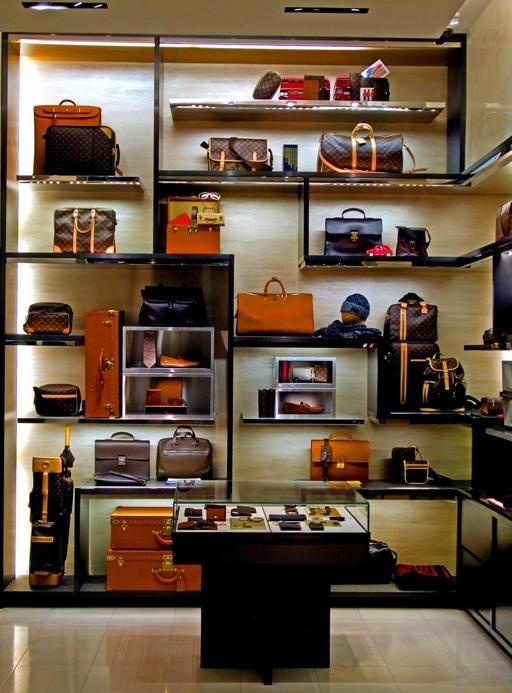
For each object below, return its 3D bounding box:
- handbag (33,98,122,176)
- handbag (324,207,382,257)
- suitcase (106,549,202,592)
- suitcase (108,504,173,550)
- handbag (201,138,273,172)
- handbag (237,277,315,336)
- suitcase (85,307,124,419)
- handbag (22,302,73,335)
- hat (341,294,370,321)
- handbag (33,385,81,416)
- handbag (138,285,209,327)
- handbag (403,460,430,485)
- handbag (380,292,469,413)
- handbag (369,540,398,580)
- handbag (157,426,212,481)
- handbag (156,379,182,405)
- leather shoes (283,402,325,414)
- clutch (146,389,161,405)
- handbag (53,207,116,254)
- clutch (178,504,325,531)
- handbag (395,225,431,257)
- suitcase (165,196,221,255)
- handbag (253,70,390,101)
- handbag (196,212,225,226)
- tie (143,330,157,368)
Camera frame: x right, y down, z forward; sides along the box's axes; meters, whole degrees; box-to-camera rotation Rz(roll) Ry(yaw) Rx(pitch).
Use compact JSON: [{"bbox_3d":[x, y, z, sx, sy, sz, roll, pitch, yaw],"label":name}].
[{"bbox_3d":[-1.062,-1.215,3.797,0.588,0.569,0.303,0,-1,-8],"label":"handbag"},{"bbox_3d":[0.578,-0.684,3.943,0.369,0.309,0.128,0,2,-2],"label":"handbag"},{"bbox_3d":[-0.602,1.283,3.565,0.500,0.188,0.391,1,-2,-1],"label":"suitcase"},{"bbox_3d":[-0.651,1.049,3.736,0.334,0.196,0.263,1,3,-5],"label":"suitcase"},{"bbox_3d":[-0.106,-1.139,3.862,0.285,0.152,0.117,-1,-8,-3],"label":"handbag"},{"bbox_3d":[0.108,-0.222,3.838,0.362,0.282,0.128,1,-9,-3],"label":"handbag"},{"bbox_3d":[-0.878,0.109,3.749,0.197,0.620,0.102,0,2,-15],"label":"suitcase"},{"bbox_3d":[-1.212,-0.154,3.807,0.263,0.189,0.190,0,-5,-8],"label":"handbag"},{"bbox_3d":[0.597,-0.234,3.911,0.155,0.169,0.123,0,3,-26],"label":"hat"},{"bbox_3d":[-1.152,0.327,3.783,0.245,0.171,0.179,1,-37,1],"label":"handbag"},{"bbox_3d":[-0.492,-0.234,3.797,0.515,0.341,0.229,0,0,-2],"label":"handbag"},{"bbox_3d":[0.934,0.738,3.929,0.200,0.183,0.119,0,-4,-1],"label":"handbag"},{"bbox_3d":[0.989,0.043,3.821,0.493,0.712,0.300,2,2,17],"label":"handbag"},{"bbox_3d":[0.753,1.294,3.891,0.148,0.229,0.298,2,3,14],"label":"handbag"},{"bbox_3d":[-0.364,0.606,3.937,0.455,0.410,0.262,1,-6,0],"label":"handbag"},{"bbox_3d":[-0.510,0.275,3.839,0.151,0.144,0.122,1,2,-10],"label":"handbag"},{"bbox_3d":[0.285,0.374,3.944,0.247,0.088,0.089,-1,-3,-4],"label":"leather shoes"},{"bbox_3d":[-0.601,0.302,3.814,0.082,0.092,0.040,1,2,-12],"label":"clutch"},{"bbox_3d":[-0.991,-0.667,3.808,0.407,0.293,0.269,1,4,0],"label":"handbag"},{"bbox_3d":[-0.022,0.723,2.718,0.612,0.108,0.031,1,2,0],"label":"clutch"},{"bbox_3d":[0.928,-0.622,3.868,0.200,0.175,0.162,1,2,-1],"label":"handbag"},{"bbox_3d":[-0.361,-0.696,3.778,0.362,0.350,0.198,0,-4,-2],"label":"suitcase"},{"bbox_3d":[0.388,-1.546,3.890,0.802,0.180,0.110,1,2,-1],"label":"handbag"},{"bbox_3d":[-0.265,-0.732,3.742,0.147,0.066,0.033,1,2,5],"label":"handbag"},{"bbox_3d":[-0.620,0.019,3.817,0.080,0.208,0.070,0,2,-18],"label":"tie"}]
